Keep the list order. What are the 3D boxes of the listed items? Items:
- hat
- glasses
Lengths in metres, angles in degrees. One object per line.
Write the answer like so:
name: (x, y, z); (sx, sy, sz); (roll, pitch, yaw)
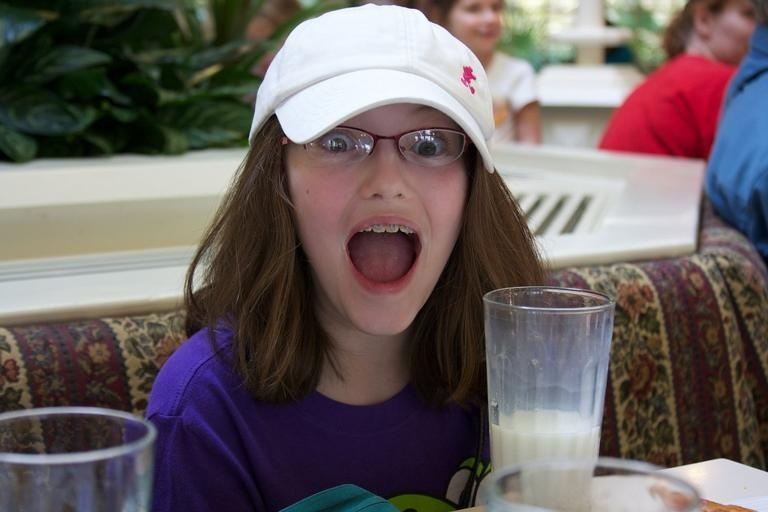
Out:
hat: (-0.018, -0.270, 1.325); (0.262, 0.182, 0.332); (4, -1, -20)
glasses: (0.005, -0.183, 1.328); (0.272, 0.081, 0.050); (-6, 35, -4)
